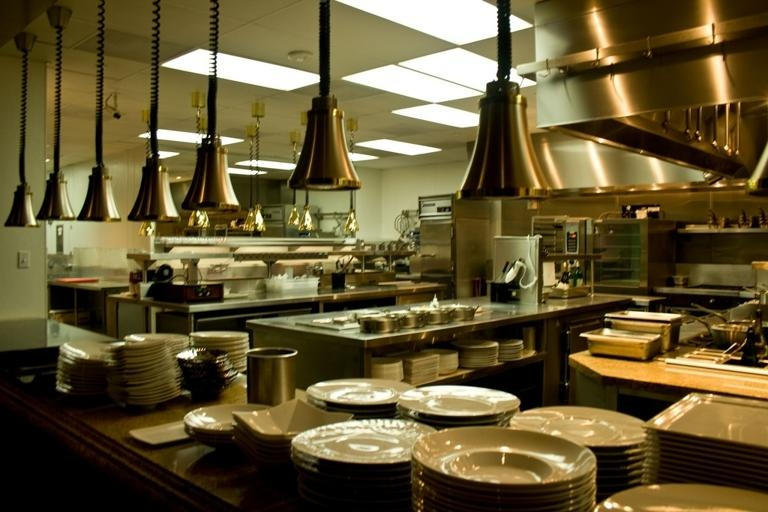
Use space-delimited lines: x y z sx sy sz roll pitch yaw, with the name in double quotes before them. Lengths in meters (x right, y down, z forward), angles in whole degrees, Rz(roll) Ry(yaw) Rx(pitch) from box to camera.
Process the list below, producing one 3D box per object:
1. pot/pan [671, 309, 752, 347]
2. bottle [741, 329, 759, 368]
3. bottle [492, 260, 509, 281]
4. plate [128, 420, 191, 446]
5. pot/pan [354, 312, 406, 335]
"pot/pan" 2.442 0.557 4.986 0.375 0.234 0.754 0 -3 -5
"bottle" 2.364 0.573 4.276 0.096 0.209 0.354 -1 4 30
"bottle" 1.216 0.148 6.865 0.168 0.191 0.351 -2 3 9
"plate" -1.067 0.856 3.163 0.207 0.032 0.123 -3 9 -39
"pot/pan" -0.023 0.502 5.000 0.260 0.122 0.358 -1 3 15
